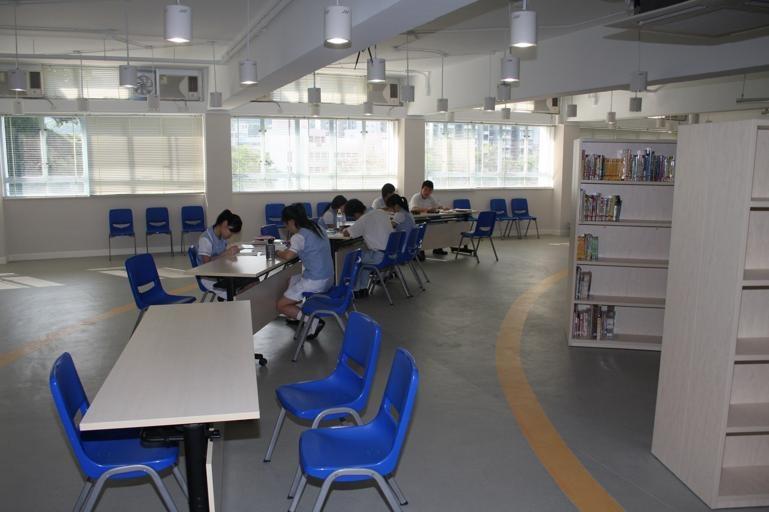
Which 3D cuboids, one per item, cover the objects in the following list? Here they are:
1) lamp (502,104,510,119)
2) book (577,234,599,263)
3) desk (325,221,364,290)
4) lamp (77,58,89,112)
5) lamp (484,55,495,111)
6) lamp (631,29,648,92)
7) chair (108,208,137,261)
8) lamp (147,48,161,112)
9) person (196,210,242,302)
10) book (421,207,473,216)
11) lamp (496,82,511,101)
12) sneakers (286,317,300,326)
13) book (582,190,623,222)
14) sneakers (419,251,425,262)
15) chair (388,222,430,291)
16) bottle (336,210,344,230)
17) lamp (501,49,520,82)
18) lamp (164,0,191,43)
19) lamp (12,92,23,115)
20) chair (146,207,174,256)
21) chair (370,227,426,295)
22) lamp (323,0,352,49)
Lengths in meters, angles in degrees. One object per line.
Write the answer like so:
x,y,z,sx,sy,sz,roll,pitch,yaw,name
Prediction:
2.885,-3.420,12.179,0.174,0.335,0.577,1,8,10,lamp
2.452,-0.102,6.207,0.203,0.312,0.200,5,11,33,book
-0.550,0.007,7.153,0.497,0.667,0.967,6,11,29,desk
-6.486,-3.612,11.030,0.223,1.013,0.334,-7,11,-31,lamp
2.135,-3.525,10.392,0.238,1.099,0.624,1,9,10,lamp
3.803,-2.885,7.648,0.244,0.796,1.111,3,9,25,lamp
-5.832,-0.522,11.418,0.606,1.072,0.663,-6,10,-26,chair
-4.831,-3.609,10.775,0.238,0.913,1.435,-5,9,-23,lamp
-2.074,-0.019,6.582,0.576,1.168,0.566,12,22,4,person
1.296,-0.955,11.281,1.357,0.209,0.476,-6,9,-32,book
2.135,-2.930,9.253,0.309,0.343,0.310,1,6,-3,lamp
-1.259,0.907,7.060,0.196,0.076,0.139,-1,4,-18,sneakers
2.568,-0.587,6.137,0.445,0.350,0.199,1,9,15,book
0.816,-0.002,11.185,0.171,0.183,0.181,2,4,-3,sneakers
0.434,-0.027,9.047,0.963,1.364,0.945,1,3,-9,chair
-0.723,-0.620,8.562,0.204,0.399,0.078,1,0,-1,bottle
1.645,-2.468,6.750,0.208,0.322,0.291,2,9,18,lamp
-1.840,-2.104,4.597,0.233,0.353,0.225,-5,10,-21,lamp
-7.524,-3.156,10.539,0.201,0.438,0.401,-7,11,-34,lamp
-5.101,-0.578,11.665,0.594,1.052,0.710,-5,10,-25,chair
0.095,-0.023,8.512,0.883,1.296,1.853,4,6,15,chair
-0.417,-2.041,4.587,0.238,0.286,0.327,-2,9,-6,lamp
